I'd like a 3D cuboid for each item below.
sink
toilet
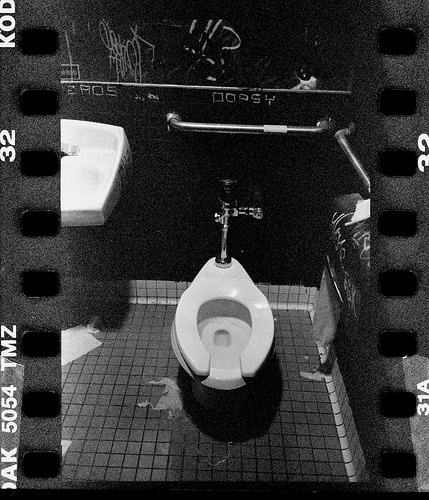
[{"bbox_3d":[-0.410,-0.241,1.487,0.316,0.117,0.291,5,71,15],"label":"sink"},{"bbox_3d":[0.032,0.255,1.600,0.276,0.314,0.494,1,64,3],"label":"toilet"}]
